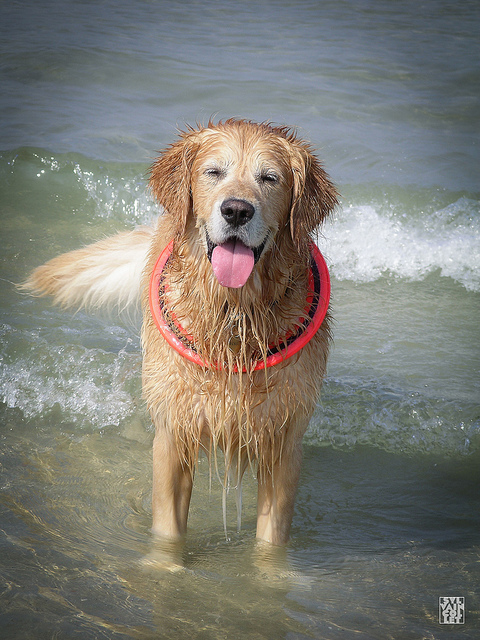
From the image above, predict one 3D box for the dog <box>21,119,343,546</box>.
[{"bbox_3d":[-0.054,0.128,3.460,0.935,2.049,0.830,4,4,6],"label":"dog"}]
